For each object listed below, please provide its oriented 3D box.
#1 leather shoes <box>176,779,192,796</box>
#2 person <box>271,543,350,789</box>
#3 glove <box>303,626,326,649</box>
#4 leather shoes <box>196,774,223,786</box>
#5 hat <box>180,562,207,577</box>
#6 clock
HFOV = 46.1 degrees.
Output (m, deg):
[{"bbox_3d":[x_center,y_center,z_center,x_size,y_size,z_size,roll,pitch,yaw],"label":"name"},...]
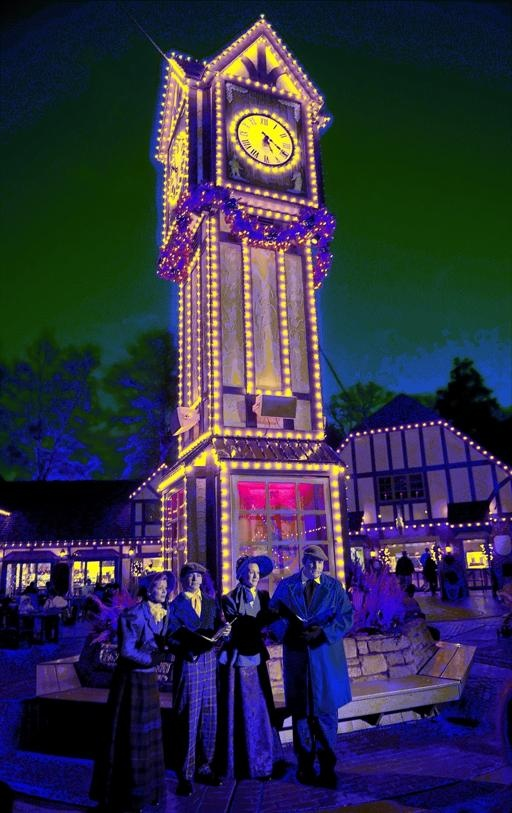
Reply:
[{"bbox_3d":[-0.507,2.729,4.299,0.089,0.160,0.089,-2,-4,1],"label":"leather shoes"},{"bbox_3d":[0.436,1.915,4.577,0.640,1.659,0.364,-4,-14,6],"label":"person"},{"bbox_3d":[0.467,1.744,4.633,0.123,0.168,0.163,13,-27,21],"label":"glove"},{"bbox_3d":[-0.333,2.743,4.422,0.193,0.082,0.068,0,-13,0],"label":"leather shoes"},{"bbox_3d":[-0.489,1.252,4.750,0.180,0.100,0.137,-4,-7,-27],"label":"hat"},{"bbox_3d":[0.164,-5.346,12.233,1.812,1.924,0.194,1,-21,-40],"label":"clock"}]
